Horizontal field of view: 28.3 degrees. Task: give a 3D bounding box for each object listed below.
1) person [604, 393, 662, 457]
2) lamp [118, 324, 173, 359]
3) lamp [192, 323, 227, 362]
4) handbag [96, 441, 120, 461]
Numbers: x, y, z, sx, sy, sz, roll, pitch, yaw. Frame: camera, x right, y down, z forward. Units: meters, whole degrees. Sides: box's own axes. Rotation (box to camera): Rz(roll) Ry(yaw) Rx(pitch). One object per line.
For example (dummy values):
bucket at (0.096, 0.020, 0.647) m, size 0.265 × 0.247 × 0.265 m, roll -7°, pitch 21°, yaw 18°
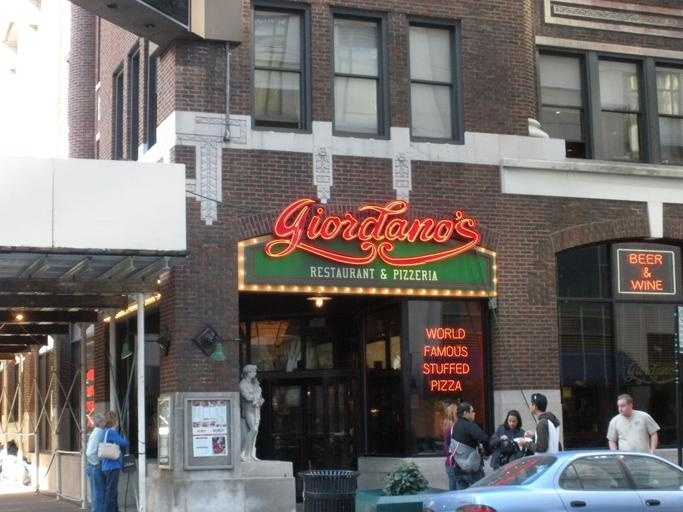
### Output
person at (5.976, 3.670, 27.724) m, size 0.952 × 1.570 × 0.753 m, roll -9°, pitch -11°, yaw 14°
lamp at (-4.511, 2.055, 31.373) m, size 1.199 × 0.722 × 0.472 m, roll -7°, pitch -18°, yaw 9°
lamp at (-2.870, 1.856, 29.035) m, size 0.669 × 0.743 × 0.193 m, roll 0°, pitch -8°, yaw -6°
handbag at (-4.883, 4.125, 28.434) m, size 0.414 × 0.481 × 0.183 m, roll 1°, pitch 13°, yaw -12°
